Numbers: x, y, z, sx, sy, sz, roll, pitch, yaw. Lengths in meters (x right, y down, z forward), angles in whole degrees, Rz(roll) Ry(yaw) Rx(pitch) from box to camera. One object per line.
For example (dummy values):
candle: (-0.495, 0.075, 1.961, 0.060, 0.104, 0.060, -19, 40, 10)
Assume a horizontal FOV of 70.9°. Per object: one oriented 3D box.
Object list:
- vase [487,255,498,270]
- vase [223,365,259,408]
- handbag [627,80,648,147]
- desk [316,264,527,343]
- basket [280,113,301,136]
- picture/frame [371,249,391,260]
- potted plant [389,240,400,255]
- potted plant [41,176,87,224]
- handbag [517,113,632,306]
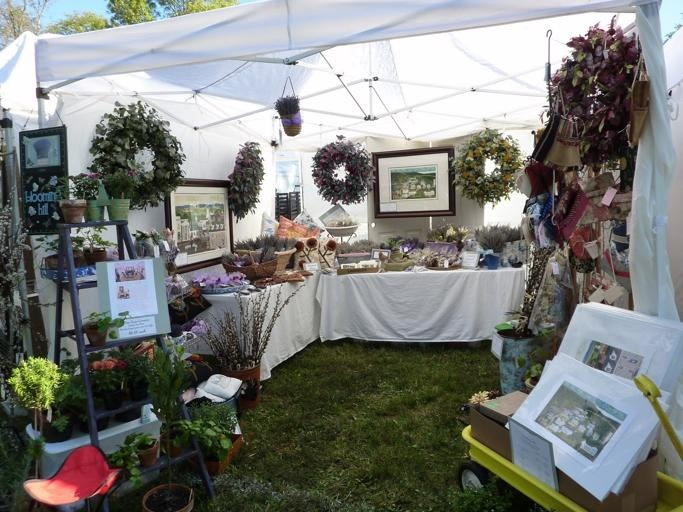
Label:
vase: (1.768, 0.074, 5.608, 0.145, 0.171, 0.150, 1, 2, 20)
vase: (-0.898, 1.139, 4.389, 0.313, 0.361, 0.321, -4, 8, -21)
handbag: (1.617, -0.783, 2.624, 0.090, 0.348, 0.087, -1, 13, -1)
desk: (0.980, 0.556, 5.640, 1.341, 0.487, 1.273, 1, 4, 34)
basket: (-0.528, -1.380, 5.113, 0.203, 0.234, 0.215, -3, 0, -15)
picture/frame: (0.495, -0.011, 5.989, 0.146, 0.148, 0.041, 0, -25, 15)
potted plant: (0.687, -0.110, 6.157, 0.142, 0.160, 0.154, 0, -9, 8)
potted plant: (-1.991, -0.403, 3.451, 0.330, 0.362, 0.339, 2, 7, -12)
handbag: (1.483, -0.391, 3.275, 0.422, 0.963, 0.734, 8, 44, 16)
